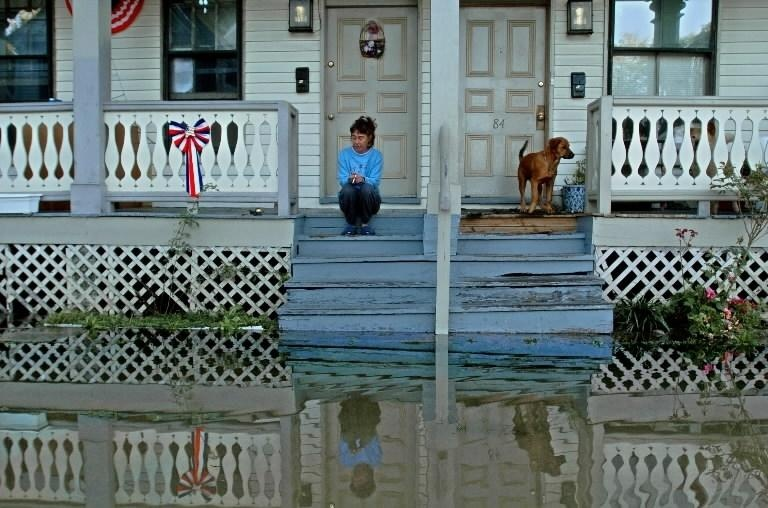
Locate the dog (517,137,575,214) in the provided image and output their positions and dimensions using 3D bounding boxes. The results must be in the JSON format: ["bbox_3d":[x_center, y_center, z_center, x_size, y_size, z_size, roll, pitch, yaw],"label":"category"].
[{"bbox_3d":[1.973,-0.964,15.911,0.616,0.899,1.123,-2,2,2],"label":"dog"}]

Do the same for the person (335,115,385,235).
[{"bbox_3d":[-0.272,-0.923,15.270,0.509,1.384,0.364,-2,2,-12],"label":"person"}]
